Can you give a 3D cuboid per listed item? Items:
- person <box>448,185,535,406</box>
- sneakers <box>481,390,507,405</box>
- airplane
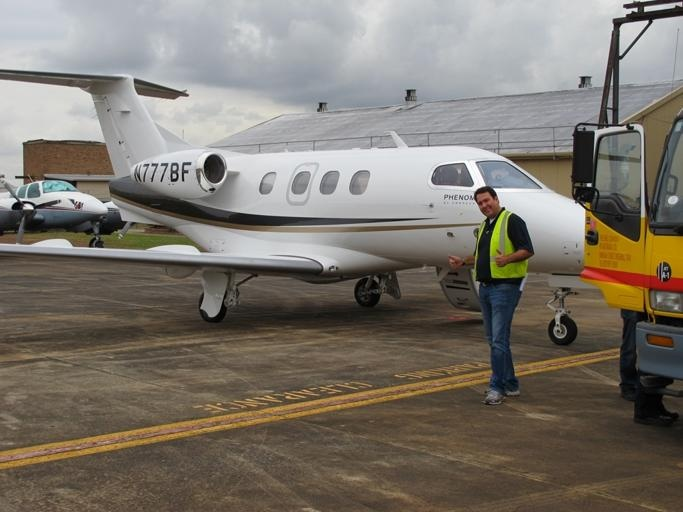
[{"bbox_3d":[1.890,0.449,6.192,0.626,2.507,0.720,-1,8,11],"label":"person"},{"bbox_3d":[1.726,1.630,6.060,0.140,0.093,0.291,-3,-7,34],"label":"sneakers"},{"bbox_3d":[-0.870,-1.061,11.514,10.029,2.157,10.660,5,8,41],"label":"airplane"}]
